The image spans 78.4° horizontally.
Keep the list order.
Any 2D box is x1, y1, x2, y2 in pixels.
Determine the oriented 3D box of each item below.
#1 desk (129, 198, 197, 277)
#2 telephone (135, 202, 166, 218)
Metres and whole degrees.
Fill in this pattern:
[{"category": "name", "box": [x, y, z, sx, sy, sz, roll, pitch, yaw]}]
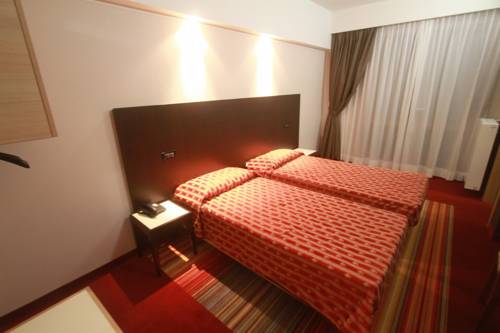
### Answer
[{"category": "desk", "box": [-1.043, 0.682, 3.980, 0.812, 0.842, 0.822, 22, 35, 32]}, {"category": "telephone", "box": [-1.211, 0.509, 3.806, 0.193, 0.073, 0.236, 17, 22, 29]}]
